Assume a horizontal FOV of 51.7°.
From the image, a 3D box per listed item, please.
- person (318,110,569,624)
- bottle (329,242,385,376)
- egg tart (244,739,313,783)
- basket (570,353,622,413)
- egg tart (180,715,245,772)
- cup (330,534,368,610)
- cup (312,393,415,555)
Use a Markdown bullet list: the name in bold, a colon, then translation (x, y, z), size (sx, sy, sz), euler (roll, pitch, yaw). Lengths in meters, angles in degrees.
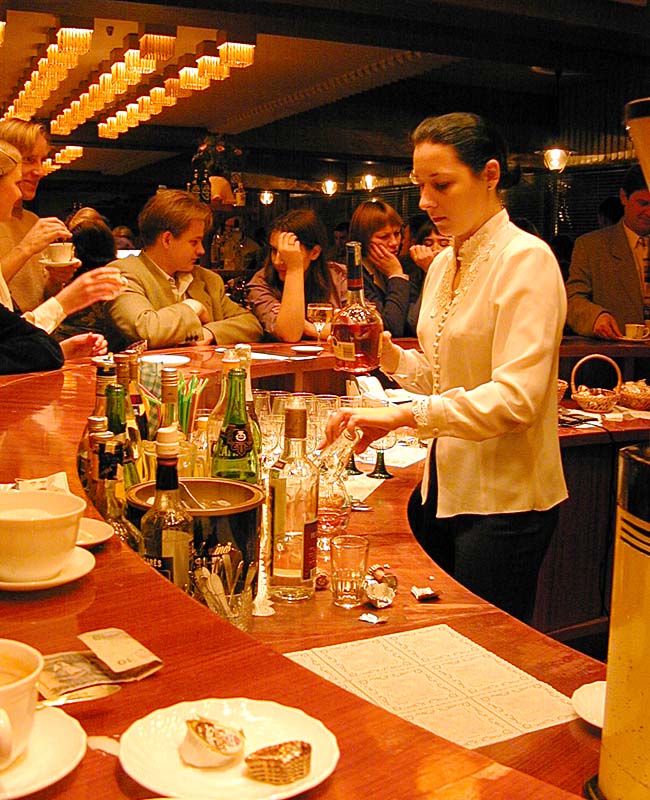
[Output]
- **person**: translation (0.350, -0.046, 1.876), size (0.656, 1.485, 0.574), euler (-2, 6, -21)
- **bottle**: translation (0.093, -0.271, 1.977), size (0.168, 0.358, 0.169), euler (-3, 17, 1)
- **egg tart**: translation (-0.033, 0.260, 0.476), size (0.048, 0.021, 0.039), euler (2, 8, -6)
- **basket**: translation (1.450, -0.104, 3.591), size (0.258, 0.296, 0.833), euler (6, 8, 20)
- **egg tart**: translation (-0.083, 0.253, 0.490), size (0.061, 0.025, 0.067), euler (2, 5, -7)
- **cup**: translation (0.041, 0.310, 1.207), size (0.067, 0.120, 0.070), euler (3, 8, 0)
- **cup**: translation (0.093, 0.188, 1.700), size (0.294, 0.393, 0.343), euler (7, 13, 10)
